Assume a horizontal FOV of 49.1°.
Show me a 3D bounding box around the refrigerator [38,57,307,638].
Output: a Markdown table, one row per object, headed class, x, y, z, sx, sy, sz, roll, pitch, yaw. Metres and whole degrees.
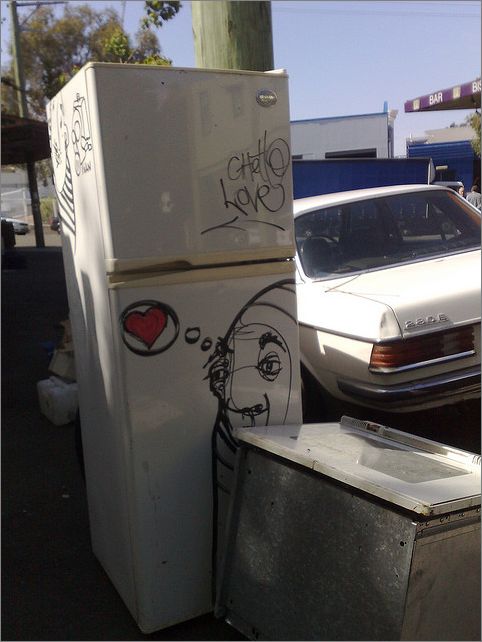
| class | x | y | z | sx | sy | sz | roll | pitch | yaw |
| --- | --- | --- | --- | --- | --- | --- | --- | --- | --- |
| refrigerator | -0.253 | 0.104 | 1.891 | 0.913 | 1.942 | 0.617 | -2 | 7 | 7 |
